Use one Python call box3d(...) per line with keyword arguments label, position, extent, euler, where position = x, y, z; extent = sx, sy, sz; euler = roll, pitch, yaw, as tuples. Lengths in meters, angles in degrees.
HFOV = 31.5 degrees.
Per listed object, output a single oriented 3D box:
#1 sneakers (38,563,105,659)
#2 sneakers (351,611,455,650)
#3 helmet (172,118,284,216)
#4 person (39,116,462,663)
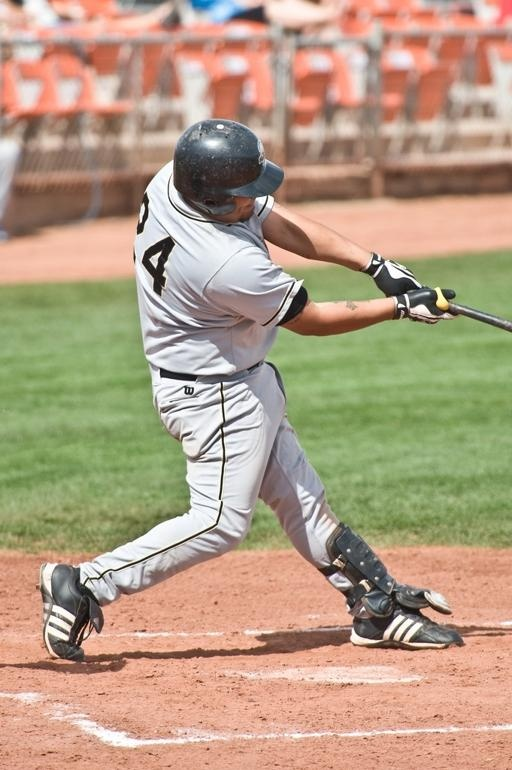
box3d(label="sneakers", position=(-0.537, 0.643, 2.655), extent=(0.172, 0.289, 0.140), euler=(-6, 5, 0))
box3d(label="sneakers", position=(0.454, 0.777, 2.905), extent=(0.365, 0.126, 0.118), euler=(-1, -3, 10))
box3d(label="helmet", position=(-0.071, -0.582, 2.512), extent=(0.349, 0.183, 0.245), euler=(-1, 46, 2))
box3d(label="person", position=(0.000, 0.037, 2.689), extent=(1.131, 1.586, 0.573), euler=(0, -2, -29))
